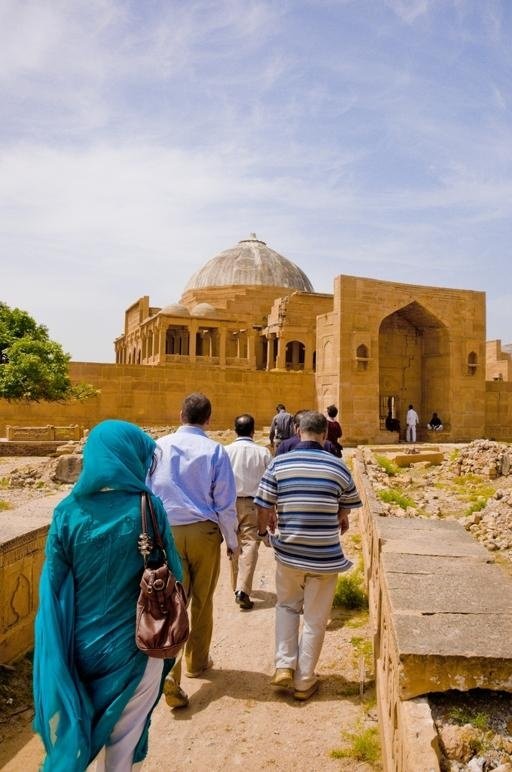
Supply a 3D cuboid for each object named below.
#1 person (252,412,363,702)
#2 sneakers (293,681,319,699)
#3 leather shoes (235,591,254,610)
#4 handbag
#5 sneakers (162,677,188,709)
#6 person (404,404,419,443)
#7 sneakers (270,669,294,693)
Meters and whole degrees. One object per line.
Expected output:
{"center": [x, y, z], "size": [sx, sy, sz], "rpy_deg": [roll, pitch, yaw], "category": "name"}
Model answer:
{"center": [0.319, 0.953, 3.864], "size": [0.606, 1.543, 0.412], "rpy_deg": [-7, -1, 3], "category": "person"}
{"center": [0.281, 1.715, 3.781], "size": [0.056, 0.071, 0.172], "rpy_deg": [3, 11, 32], "category": "sneakers"}
{"center": [-0.105, 1.787, 5.546], "size": [0.078, 0.097, 0.211], "rpy_deg": [0, -9, 8], "category": "leather shoes"}
{"center": [-0.314, 0.804, 2.369], "size": [0.211, 0.304, 0.162], "rpy_deg": [-19, -18, 21], "category": "handbag"}
{"center": [-0.431, 1.705, 3.687], "size": [0.087, 0.235, 0.103], "rpy_deg": [-12, 39, 0], "category": "sneakers"}
{"center": [5.027, 1.251, 21.938], "size": [0.397, 1.211, 1.471], "rpy_deg": [-7, -2, 12], "category": "person"}
{"center": [0.150, 1.679, 3.805], "size": [0.098, 0.091, 0.192], "rpy_deg": [4, -29, -7], "category": "sneakers"}
